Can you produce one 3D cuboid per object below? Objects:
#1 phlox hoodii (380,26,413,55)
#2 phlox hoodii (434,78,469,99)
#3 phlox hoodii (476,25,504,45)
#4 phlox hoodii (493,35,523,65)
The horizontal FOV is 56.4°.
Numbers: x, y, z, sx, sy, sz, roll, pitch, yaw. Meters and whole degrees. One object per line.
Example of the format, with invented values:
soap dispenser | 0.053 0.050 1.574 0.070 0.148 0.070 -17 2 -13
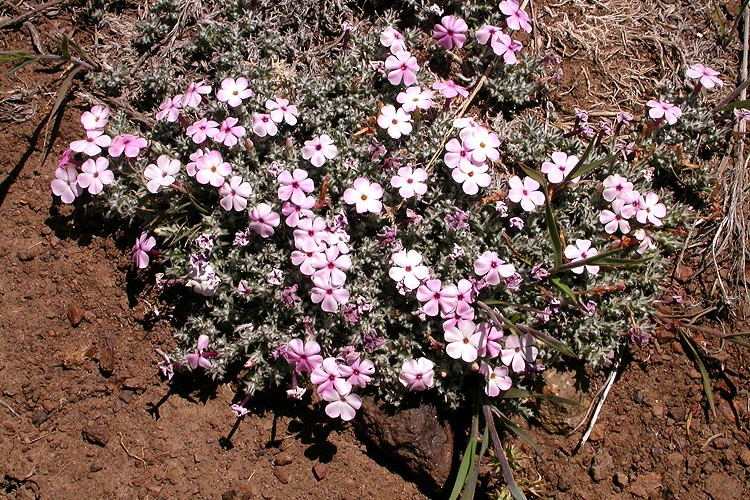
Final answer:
phlox hoodii | 0.227 -2.387 7.864 0.316 0.118 0.330 30 56 -10
phlox hoodii | 0.846 -1.765 7.908 0.293 0.126 0.308 21 38 -2
phlox hoodii | 1.287 -2.479 7.996 0.291 0.120 0.219 -29 83 -4
phlox hoodii | 1.498 -2.296 8.030 0.357 0.219 0.272 32 83 5
